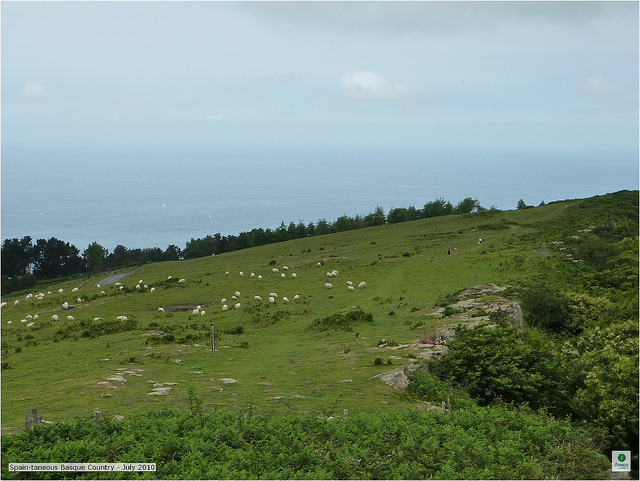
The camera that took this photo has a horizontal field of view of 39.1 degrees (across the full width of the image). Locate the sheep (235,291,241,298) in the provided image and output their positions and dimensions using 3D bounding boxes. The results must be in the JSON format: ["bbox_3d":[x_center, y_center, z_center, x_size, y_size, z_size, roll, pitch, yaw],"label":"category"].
[{"bbox_3d":[-12.572,8.326,138.410,0.652,0.835,0.857,3,11,8],"label":"sheep"}]

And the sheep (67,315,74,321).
[{"bbox_3d":[-36.986,11.466,133.042,0.688,0.454,0.901,4,1,-6],"label":"sheep"}]

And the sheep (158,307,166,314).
[{"bbox_3d":[-23.380,10.243,132.433,0.512,0.583,1.484,0,-5,5],"label":"sheep"}]

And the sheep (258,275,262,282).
[{"bbox_3d":[-9.797,6.227,148.343,0.624,0.667,1.490,3,12,0],"label":"sheep"}]

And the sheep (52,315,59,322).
[{"bbox_3d":[-39.418,11.477,133.622,0.907,0.780,1.360,-2,-1,-17],"label":"sheep"}]

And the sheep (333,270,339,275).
[{"bbox_3d":[2.787,5.136,145.424,0.892,0.674,1.659,-2,-1,-5],"label":"sheep"}]

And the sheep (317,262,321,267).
[{"bbox_3d":[0.067,4.136,154.769,0.554,1.088,2.114,-2,-5,-4],"label":"sheep"}]

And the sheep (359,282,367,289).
[{"bbox_3d":[6.658,6.748,136.128,1.393,1.197,0.751,1,-2,3],"label":"sheep"}]

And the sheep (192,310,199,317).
[{"bbox_3d":[-17.682,10.358,128.004,0.785,0.874,1.609,3,0,2],"label":"sheep"}]

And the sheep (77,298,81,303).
[{"bbox_3d":[-38.984,9.705,145.256,0.317,0.555,0.462,-30,-26,29],"label":"sheep"}]

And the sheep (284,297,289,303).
[{"bbox_3d":[-4.744,8.658,131.058,0.533,0.734,1.211,-2,-1,7],"label":"sheep"}]

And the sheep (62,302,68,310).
[{"bbox_3d":[-40.177,10.329,141.285,0.787,0.964,1.628,-2,-1,-19],"label":"sheep"}]

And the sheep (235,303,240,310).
[{"bbox_3d":[-11.907,9.570,130.328,0.701,0.688,1.274,-2,-1,-9],"label":"sheep"}]
